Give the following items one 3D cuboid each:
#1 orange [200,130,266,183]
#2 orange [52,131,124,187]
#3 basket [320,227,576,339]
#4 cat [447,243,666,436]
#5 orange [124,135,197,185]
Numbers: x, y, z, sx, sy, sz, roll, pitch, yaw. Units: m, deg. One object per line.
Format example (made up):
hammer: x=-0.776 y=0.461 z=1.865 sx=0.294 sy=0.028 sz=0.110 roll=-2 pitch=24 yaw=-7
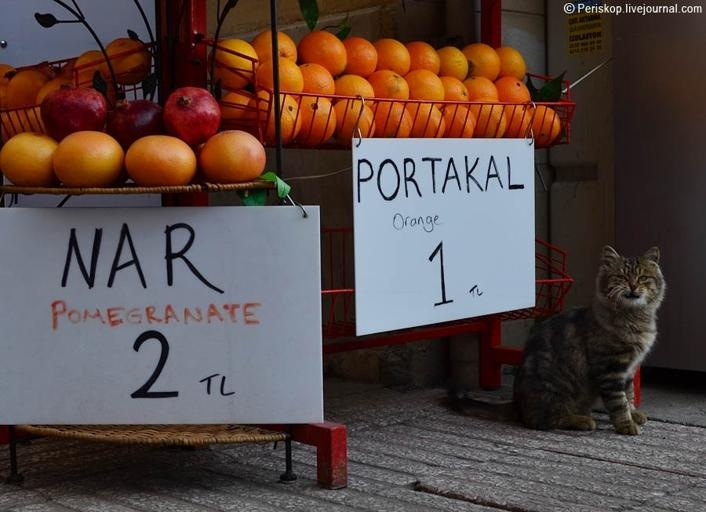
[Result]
orange: x=-0.408 y=-0.324 z=2.520 sx=0.159 sy=0.196 sz=0.174 roll=-2 pitch=12 yaw=13
orange: x=-0.847 y=-0.298 z=2.419 sx=0.162 sy=0.191 sz=0.205 roll=0 pitch=6 yaw=31
basket: x=0.433 y=0.157 z=4.021 sx=1.326 sy=0.652 sz=0.726 roll=-7 pitch=6 yaw=-33
cat: x=1.040 y=0.282 z=3.525 sx=0.670 sy=0.910 sz=0.685 roll=0 pitch=7 yaw=11
orange: x=-0.628 y=-0.307 z=2.423 sx=0.228 sy=0.166 sz=0.090 roll=-3 pitch=4 yaw=-19
